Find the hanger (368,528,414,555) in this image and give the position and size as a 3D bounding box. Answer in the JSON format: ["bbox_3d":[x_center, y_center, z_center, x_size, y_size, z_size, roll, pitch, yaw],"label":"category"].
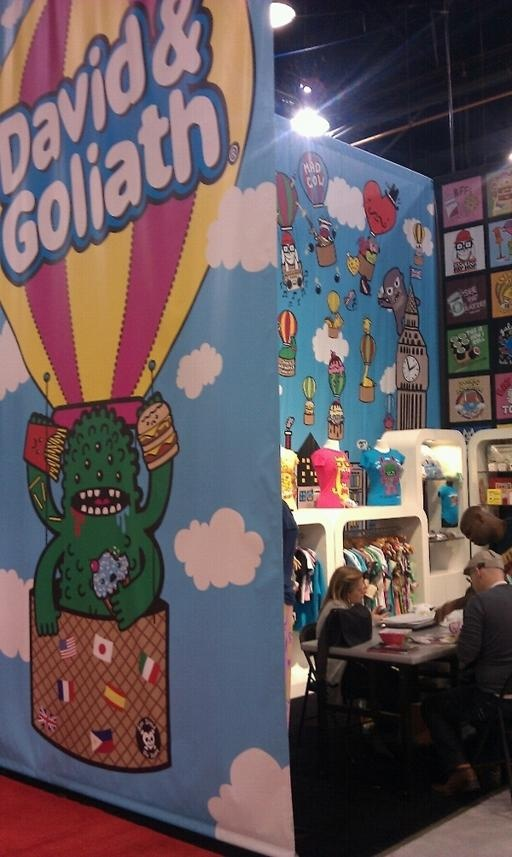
[{"bbox_3d":[1.010,0.813,5.168,0.166,0.098,0.247,-1,-1,39],"label":"hanger"}]

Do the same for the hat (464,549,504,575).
[{"bbox_3d":[1.102,0.627,3.364,0.162,0.098,0.121,-3,-12,39],"label":"hat"}]

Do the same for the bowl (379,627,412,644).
[{"bbox_3d":[0.617,0.927,3.120,0.149,0.073,0.128,-6,-12,26],"label":"bowl"}]
